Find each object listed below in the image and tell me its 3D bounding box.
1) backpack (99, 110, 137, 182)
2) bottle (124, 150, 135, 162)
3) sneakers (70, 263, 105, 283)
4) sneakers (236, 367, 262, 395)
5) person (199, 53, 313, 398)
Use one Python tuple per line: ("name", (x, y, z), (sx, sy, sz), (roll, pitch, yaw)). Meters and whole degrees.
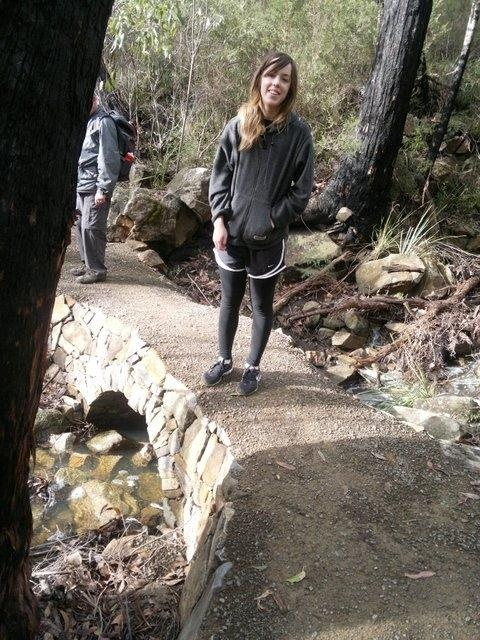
("backpack", (-1.052, -1.478, 4.572), (0.251, 0.564, 0.492), (9, 16, -12))
("bottle", (-0.949, -1.388, 4.525), (0.041, 0.065, 0.084), (9, -9, -4))
("sneakers", (-1.475, -0.434, 5.105), (0.283, 0.122, 0.163), (9, 27, -31))
("sneakers", (0.052, 0.388, 3.324), (0.087, 0.104, 0.236), (10, 28, 6))
("person", (0.032, -0.400, 2.900), (0.515, 1.896, 0.430), (10, 15, -6))
